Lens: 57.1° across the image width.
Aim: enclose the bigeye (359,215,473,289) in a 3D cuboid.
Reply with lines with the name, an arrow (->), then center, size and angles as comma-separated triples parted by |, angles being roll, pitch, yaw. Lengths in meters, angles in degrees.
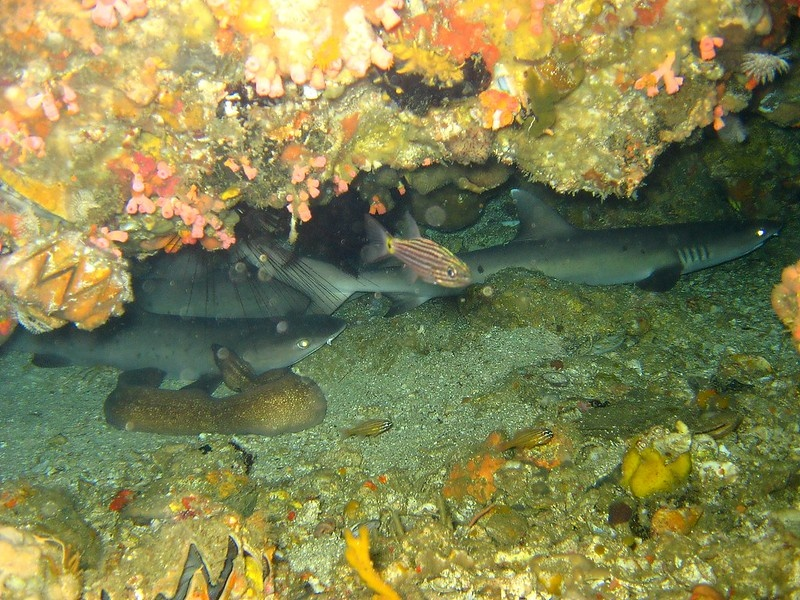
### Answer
bigeye -> 0.085, -0.467, 6.532 | 1.063, 0.607, 0.340 | 15, 65, 37
